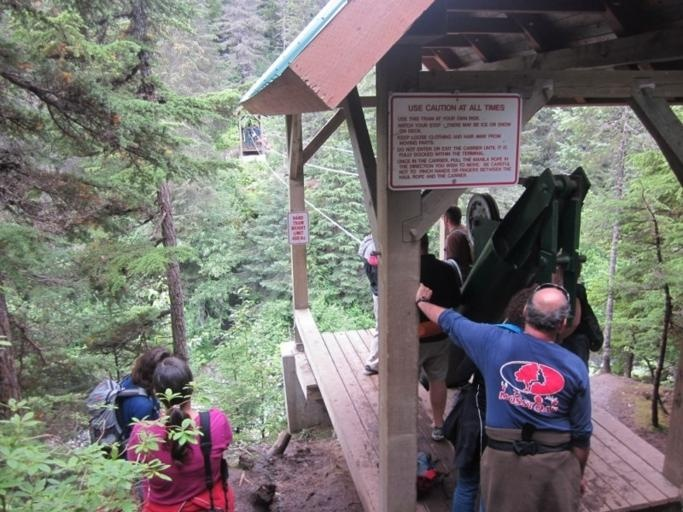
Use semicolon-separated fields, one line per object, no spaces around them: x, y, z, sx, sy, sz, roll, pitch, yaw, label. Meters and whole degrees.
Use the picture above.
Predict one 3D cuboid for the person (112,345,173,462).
-1.767;1.296;4.605;0.399;1.062;0.417;18;12;29;person
